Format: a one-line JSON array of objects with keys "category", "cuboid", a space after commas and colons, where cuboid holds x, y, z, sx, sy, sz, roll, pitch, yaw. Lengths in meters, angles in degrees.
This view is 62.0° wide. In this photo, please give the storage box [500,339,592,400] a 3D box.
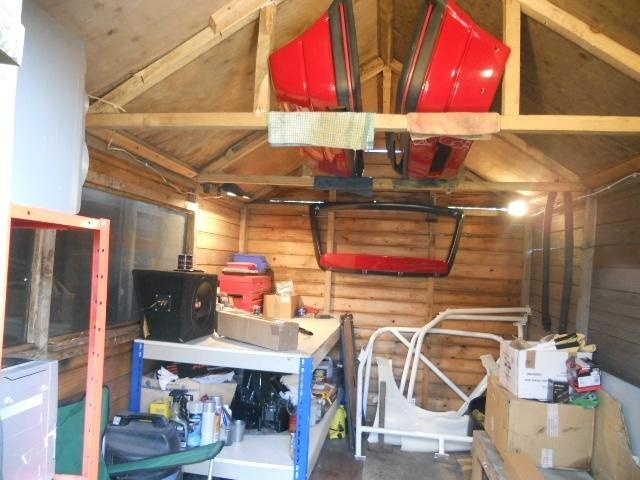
[{"category": "storage box", "cuboid": [1.552, 0.896, 3.743, 0.584, 0.282, 0.538, 1, 1, 10]}]

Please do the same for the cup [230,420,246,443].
[{"category": "cup", "cuboid": [-0.577, 1.344, 3.726, 0.131, 0.119, 0.122, 1, -4, 0]}]

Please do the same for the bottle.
[{"category": "bottle", "cuboid": [-0.812, 1.217, 3.578, 0.476, 0.422, 0.233, -1, 0, -1]}]

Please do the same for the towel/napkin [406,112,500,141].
[{"category": "towel/napkin", "cuboid": [0.767, -0.662, 3.084, 0.543, 0.168, 0.063, 4, -6, 2]}]

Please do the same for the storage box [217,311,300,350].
[{"category": "storage box", "cuboid": [-0.348, 0.650, 3.854, 0.755, 0.196, 0.296, 6, 6, 35]}]

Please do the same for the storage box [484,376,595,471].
[{"category": "storage box", "cuboid": [1.449, 1.244, 3.662, 0.522, 0.472, 0.370, 9, -7, 0]}]

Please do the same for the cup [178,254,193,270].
[{"category": "cup", "cuboid": [-1.046, 0.165, 4.075, 0.119, 0.113, 0.114, -1, -5, 0]}]

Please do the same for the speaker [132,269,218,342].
[{"category": "speaker", "cuboid": [-1.012, 0.373, 4.007, 0.529, 0.595, 0.692, 1, 0, 13]}]
